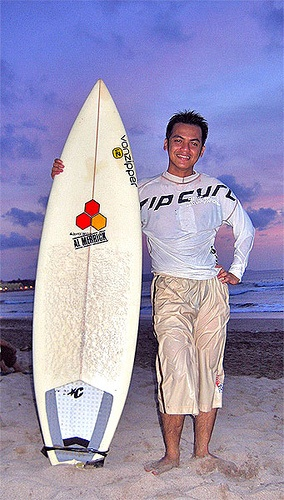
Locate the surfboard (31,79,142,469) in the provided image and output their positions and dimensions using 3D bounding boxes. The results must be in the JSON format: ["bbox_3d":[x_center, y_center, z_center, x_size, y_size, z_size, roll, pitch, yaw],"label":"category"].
[{"bbox_3d":[-0.354,0.243,2.783,0.591,2.455,0.283,0,-6,-1],"label":"surfboard"}]

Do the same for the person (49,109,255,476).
[{"bbox_3d":[0.290,0.207,2.543,0.655,2.021,0.403,3,-2,0],"label":"person"}]
